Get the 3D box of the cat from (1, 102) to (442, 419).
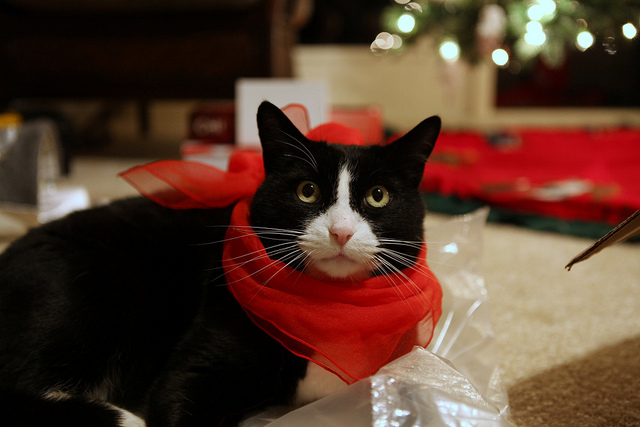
[{"bbox_3d":[-0.224,0.001,1.277,0.746,0.484,0.619,7,-4,-38],"label":"cat"}]
